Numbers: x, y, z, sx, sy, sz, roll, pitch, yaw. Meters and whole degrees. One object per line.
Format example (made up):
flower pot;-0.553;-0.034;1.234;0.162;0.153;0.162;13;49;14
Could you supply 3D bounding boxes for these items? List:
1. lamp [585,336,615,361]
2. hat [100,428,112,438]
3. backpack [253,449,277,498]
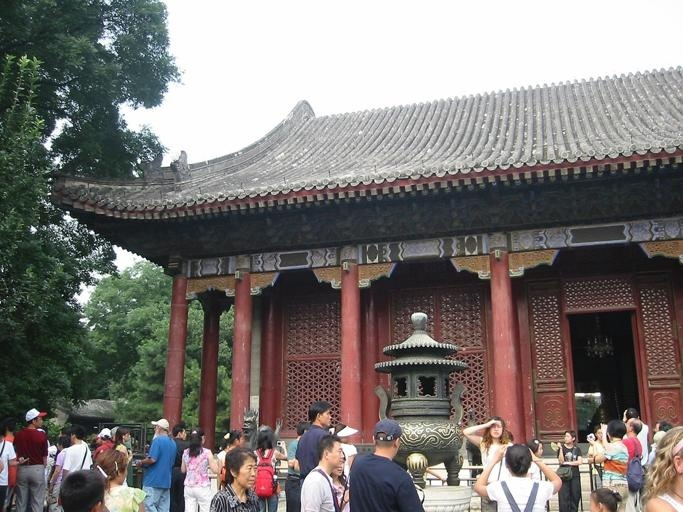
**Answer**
lamp;6.347;2.237;18.524;0.515;0.633;0.500;7;-24;-3
hat;-3.454;2.591;11.047;0.136;0.095;0.179;7;2;-19
backpack;-0.929;2.656;9.256;0.332;0.518;0.300;-2;-1;18
